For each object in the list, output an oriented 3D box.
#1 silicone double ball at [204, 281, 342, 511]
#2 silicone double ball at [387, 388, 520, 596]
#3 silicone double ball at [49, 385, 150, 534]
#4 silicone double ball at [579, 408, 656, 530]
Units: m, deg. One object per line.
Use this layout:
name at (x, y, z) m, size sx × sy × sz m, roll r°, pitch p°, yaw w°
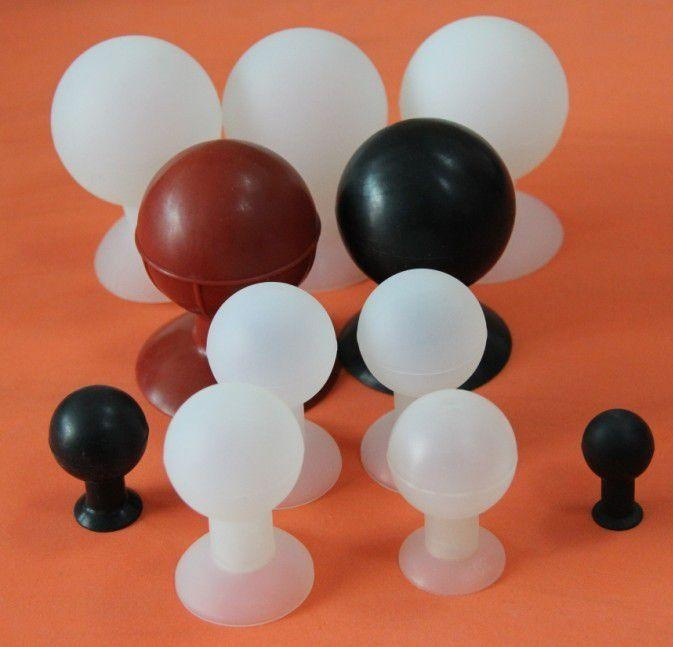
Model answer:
silicone double ball at (-0.141, 0.161, 1.930) m, size 0.236 × 0.497 × 0.320 m, roll -7°, pitch 36°, yaw -1°
silicone double ball at (0.238, 0.312, 1.885) m, size 0.225 × 0.453 × 0.270 m, roll 6°, pitch 33°, yaw 24°
silicone double ball at (-0.513, 0.284, 2.042) m, size 0.157 × 0.331 × 0.192 m, roll 9°, pitch 12°, yaw 7°
silicone double ball at (0.629, 0.289, 1.983) m, size 0.146 × 0.305 × 0.165 m, roll -17°, pitch 22°, yaw -25°
